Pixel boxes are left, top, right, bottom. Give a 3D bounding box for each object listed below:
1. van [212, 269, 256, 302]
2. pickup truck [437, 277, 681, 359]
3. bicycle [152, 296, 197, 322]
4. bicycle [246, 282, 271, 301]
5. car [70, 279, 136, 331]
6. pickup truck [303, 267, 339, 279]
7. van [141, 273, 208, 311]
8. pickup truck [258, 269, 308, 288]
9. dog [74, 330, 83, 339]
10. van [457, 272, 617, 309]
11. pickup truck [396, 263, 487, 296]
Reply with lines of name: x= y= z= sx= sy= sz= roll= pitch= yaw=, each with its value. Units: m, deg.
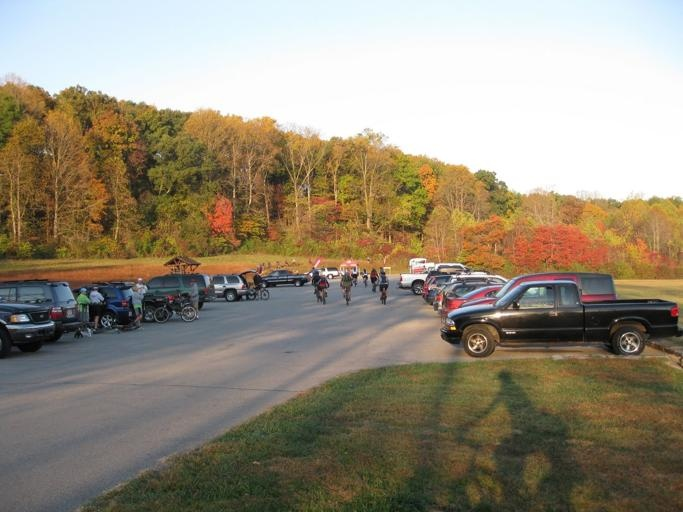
van: x=-8.314 y=2.444 z=41.147 sx=3.284 sy=1.672 sz=1.737 roll=3 pitch=3 yaw=13
pickup truck: x=5.903 y=1.783 z=14.956 sx=5.576 sy=1.867 sz=2.460 roll=1 pitch=-4 yaw=3
bicycle: x=-8.008 y=2.624 z=25.878 sx=1.992 sy=1.280 sz=1.175 roll=3 pitch=-4 yaw=1
bicycle: x=-6.553 y=2.870 z=41.395 sx=2.060 sy=1.312 sz=1.044 roll=-1 pitch=2 yaw=-7
car: x=-10.416 y=2.149 z=23.413 sx=2.713 sy=1.651 sz=1.618 roll=3 pitch=-1 yaw=4
pickup truck: x=-2.197 y=2.626 z=73.024 sx=3.937 sy=1.320 sz=1.928 roll=2 pitch=0 yaw=3
van: x=-9.188 y=2.156 z=29.159 sx=3.929 sy=2.078 sz=1.977 roll=3 pitch=0 yaw=-2
pickup truck: x=-6.268 y=2.530 z=59.220 sx=4.317 sy=1.635 sz=2.134 roll=3 pitch=-1 yaw=-5
dog: x=-10.293 y=3.084 z=20.798 sx=0.341 sy=0.326 sz=0.334 roll=5 pitch=-5 yaw=-43
van: x=6.161 y=1.127 z=16.959 sx=3.070 sy=1.025 sz=1.200 roll=0 pitch=0 yaw=2
pickup truck: x=6.561 y=1.935 z=41.027 sx=5.574 sy=1.940 sz=2.459 roll=-2 pitch=2 yaw=4
